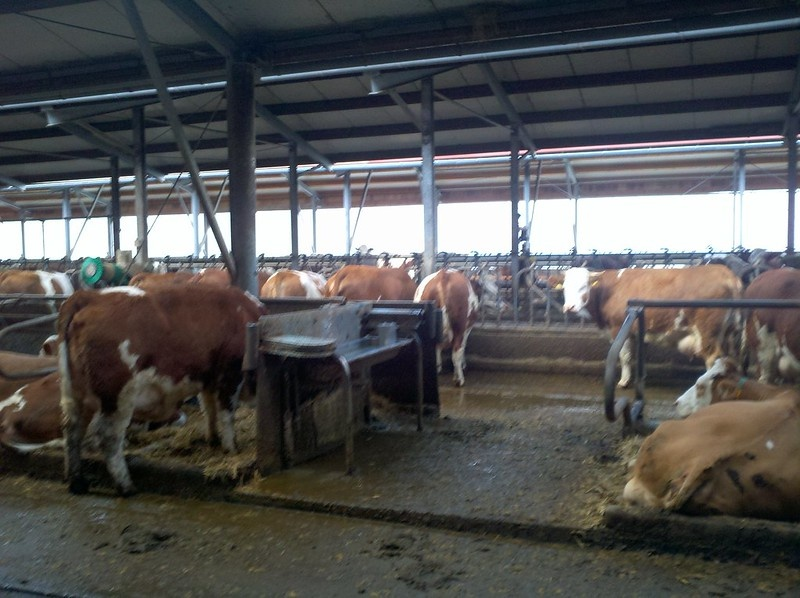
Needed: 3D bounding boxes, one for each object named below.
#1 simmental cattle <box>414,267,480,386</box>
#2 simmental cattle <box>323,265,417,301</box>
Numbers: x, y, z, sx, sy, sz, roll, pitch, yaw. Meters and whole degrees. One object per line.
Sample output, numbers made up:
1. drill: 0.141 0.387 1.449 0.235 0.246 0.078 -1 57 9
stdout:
1. simmental cattle: 0.655 0.353 9.303 0.790 1.515 1.296 -1 4 7
2. simmental cattle: -0.413 -0.229 9.594 1.259 0.501 0.708 -1 3 1
